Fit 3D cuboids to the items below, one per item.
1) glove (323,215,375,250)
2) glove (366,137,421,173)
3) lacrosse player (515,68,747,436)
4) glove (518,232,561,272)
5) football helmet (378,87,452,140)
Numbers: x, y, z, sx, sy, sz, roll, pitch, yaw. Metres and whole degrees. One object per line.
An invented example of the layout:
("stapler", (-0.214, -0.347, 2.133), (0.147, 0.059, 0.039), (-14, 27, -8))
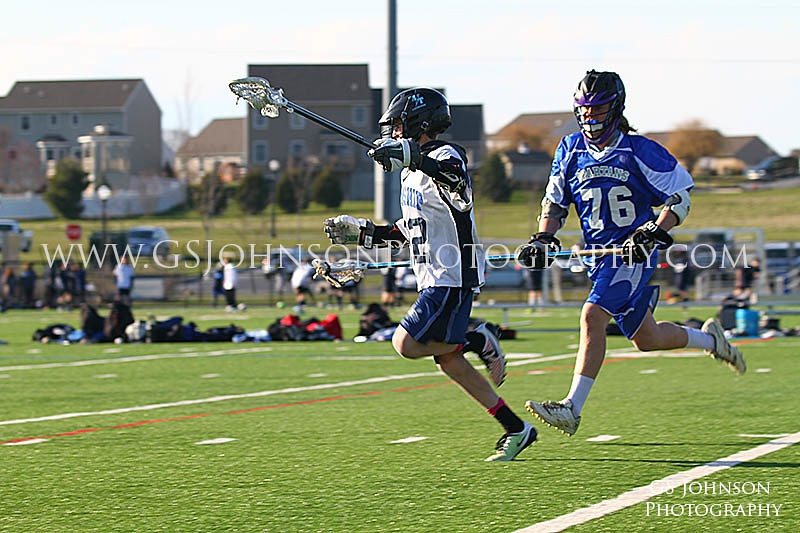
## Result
("glove", (-0.458, -0.321, 11.689), (0.454, 0.150, 0.341), (4, 4, -12))
("glove", (-0.027, -1.001, 10.950), (0.574, 0.222, 0.404), (-2, 7, -21))
("lacrosse player", (2.080, -0.225, 12.245), (2.490, 3.452, 1.922), (0, 1, 3))
("glove", (1.357, -0.152, 11.776), (0.380, 0.184, 0.492), (7, 16, 40))
("football helmet", (0.203, -1.412, 11.497), (0.755, 0.420, 0.507), (0, 11, 2))
